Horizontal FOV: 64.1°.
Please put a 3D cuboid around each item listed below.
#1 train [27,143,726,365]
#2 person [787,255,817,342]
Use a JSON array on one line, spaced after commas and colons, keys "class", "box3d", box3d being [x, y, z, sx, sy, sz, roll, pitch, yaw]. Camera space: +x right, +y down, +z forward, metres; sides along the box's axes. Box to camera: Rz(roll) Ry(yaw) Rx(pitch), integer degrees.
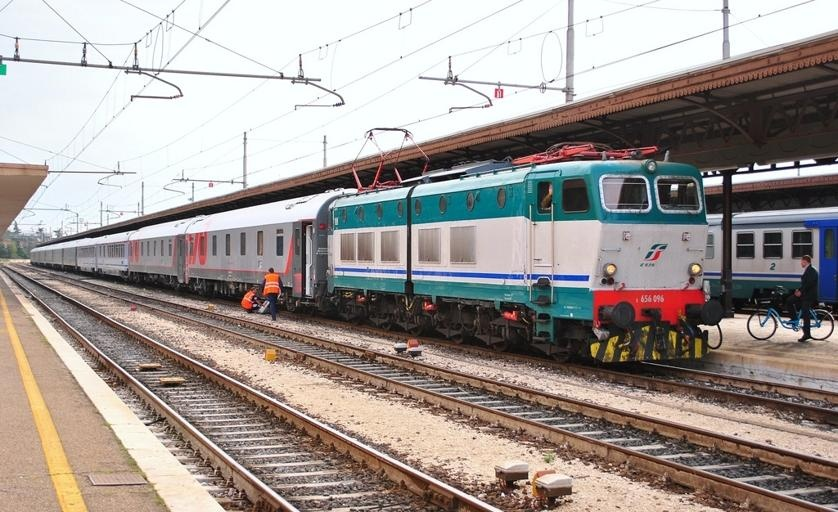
[{"class": "train", "box3d": [-5.991, -0.235, 31.452, 6.859, 4.960, 38.883, -1, 3, -31]}, {"class": "person", "box3d": [11.155, 1.250, 19.294, 0.630, 2.430, 1.589, -4, -4, 28]}]
